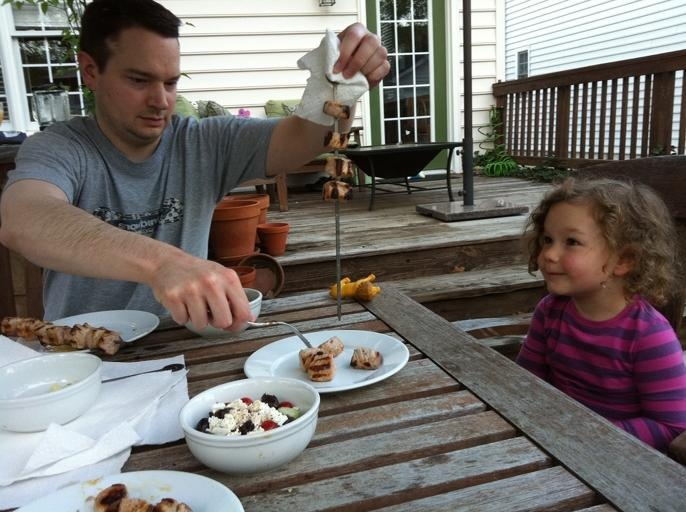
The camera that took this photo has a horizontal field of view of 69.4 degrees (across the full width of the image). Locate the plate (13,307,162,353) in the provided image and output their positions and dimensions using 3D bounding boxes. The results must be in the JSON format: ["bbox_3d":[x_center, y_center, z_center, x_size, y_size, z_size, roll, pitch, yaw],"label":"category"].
[{"bbox_3d":[-0.746,0.173,1.270,0.527,0.076,0.110,1,-28,17],"label":"plate"}]

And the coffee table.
[{"bbox_3d":[0.503,-0.810,5.123,1.228,0.384,0.993,-8,3,-14],"label":"coffee table"}]

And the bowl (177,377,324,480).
[{"bbox_3d":[-0.156,0.281,0.829,0.205,0.108,0.193,-1,11,0],"label":"bowl"}]
